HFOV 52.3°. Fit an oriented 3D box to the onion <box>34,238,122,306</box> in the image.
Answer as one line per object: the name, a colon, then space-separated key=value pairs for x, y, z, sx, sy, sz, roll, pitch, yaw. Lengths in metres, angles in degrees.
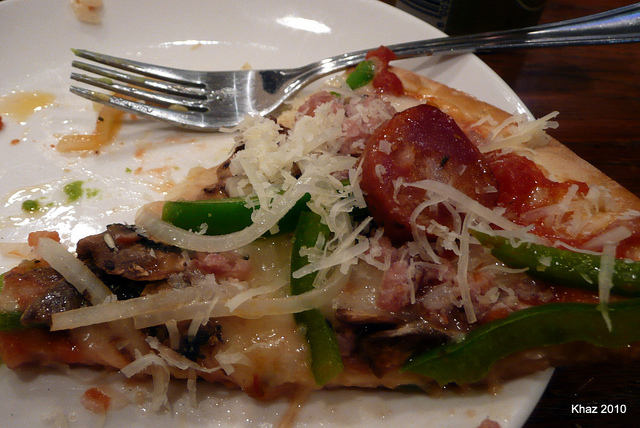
onion: x=-1.345 y=0.310 z=3.660 sx=0.600 sy=0.123 sz=0.107 roll=34 pitch=32 yaw=26

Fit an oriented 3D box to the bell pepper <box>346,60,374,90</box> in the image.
bell pepper: x=0.270 y=-0.923 z=4.341 sx=0.139 sy=0.052 sz=0.214 roll=25 pitch=66 yaw=22

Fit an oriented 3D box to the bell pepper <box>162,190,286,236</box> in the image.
bell pepper: x=-0.626 y=0.011 z=3.711 sx=0.624 sy=0.177 sz=0.282 roll=-6 pitch=30 yaw=9

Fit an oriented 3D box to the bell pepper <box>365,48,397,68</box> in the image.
bell pepper: x=0.416 y=-1.075 z=4.436 sx=0.164 sy=0.051 sz=0.159 roll=-35 pitch=69 yaw=-28

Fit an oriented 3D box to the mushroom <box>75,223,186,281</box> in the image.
mushroom: x=-1.036 y=0.177 z=3.759 sx=0.502 sy=0.239 sz=0.696 roll=7 pitch=17 yaw=34

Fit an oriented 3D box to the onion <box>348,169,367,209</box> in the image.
onion: x=0.196 y=-0.137 z=3.632 sx=0.068 sy=0.025 sz=0.243 roll=-24 pitch=82 yaw=-3

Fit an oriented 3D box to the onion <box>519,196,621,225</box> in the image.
onion: x=1.402 y=-0.008 z=3.689 sx=0.331 sy=0.075 sz=0.452 roll=5 pitch=12 yaw=27
